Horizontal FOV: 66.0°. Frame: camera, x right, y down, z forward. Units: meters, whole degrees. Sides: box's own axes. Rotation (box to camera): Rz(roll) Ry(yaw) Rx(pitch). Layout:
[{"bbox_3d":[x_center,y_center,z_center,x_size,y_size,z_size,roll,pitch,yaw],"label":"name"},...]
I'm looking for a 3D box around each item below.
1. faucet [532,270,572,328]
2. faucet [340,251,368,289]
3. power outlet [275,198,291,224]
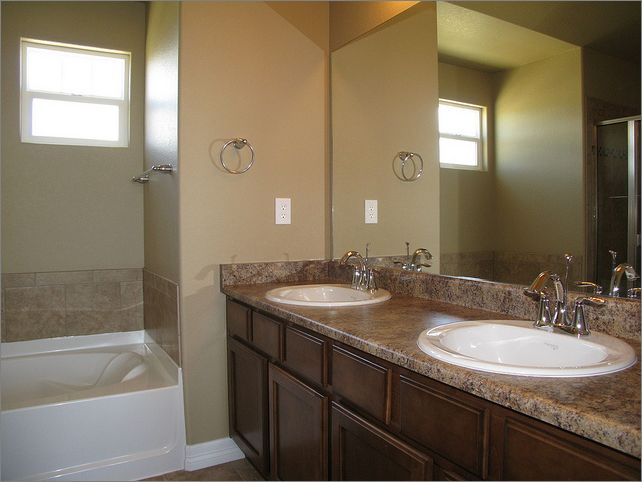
[{"bbox_3d":[0.825,0.206,1.741,0.167,0.199,0.147,-4,6,-43],"label":"faucet"},{"bbox_3d":[0.181,0.140,2.543,0.155,0.234,0.084,2,40,11],"label":"faucet"},{"bbox_3d":[-0.230,-0.176,2.861,0.133,0.223,0.017,1,-1,-34],"label":"power outlet"}]
